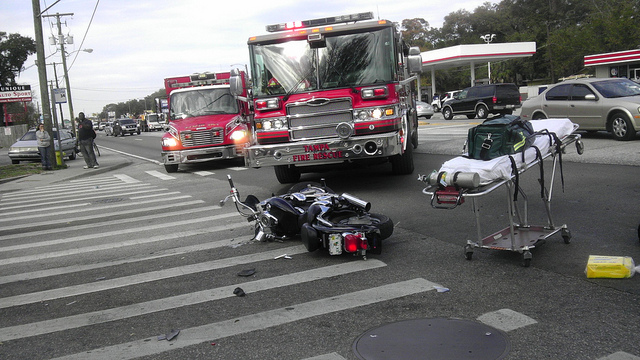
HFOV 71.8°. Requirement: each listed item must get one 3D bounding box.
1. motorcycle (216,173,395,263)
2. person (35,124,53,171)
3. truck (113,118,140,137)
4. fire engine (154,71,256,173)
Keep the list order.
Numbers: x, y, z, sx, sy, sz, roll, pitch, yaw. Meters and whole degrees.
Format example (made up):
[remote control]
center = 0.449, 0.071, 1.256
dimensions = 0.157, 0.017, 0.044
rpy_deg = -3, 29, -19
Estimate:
[motorcycle]
center = -0.117, 0.657, 8.290
dimensions = 2.690, 1.165, 1.752
rpy_deg = 12, 15, 43
[person]
center = -14.429, -1.724, 23.149
dimensions = 0.532, 2.412, 0.563
rpy_deg = 4, 17, 44
[truck]
center = -28.092, -7.571, 63.306
dimensions = 2.375, 1.592, 3.954
rpy_deg = -3, 2, -35
[fire engine]
center = -5.044, -3.624, 22.380
dimensions = 4.665, 3.843, 7.914
rpy_deg = -6, 18, 3
